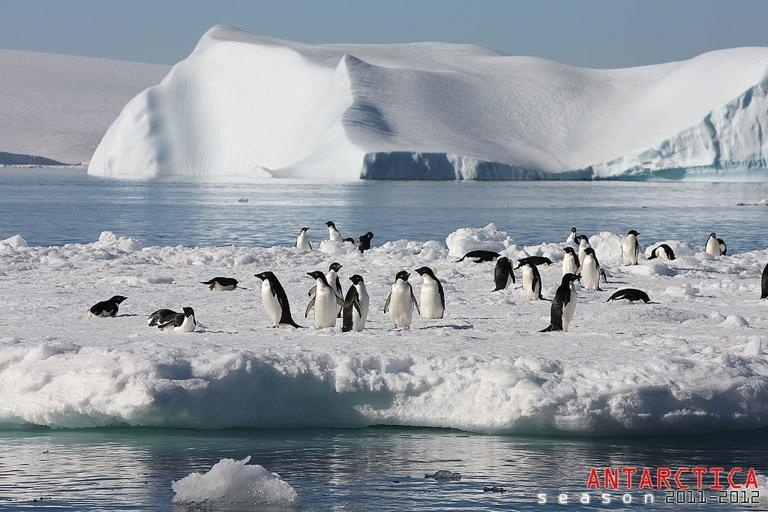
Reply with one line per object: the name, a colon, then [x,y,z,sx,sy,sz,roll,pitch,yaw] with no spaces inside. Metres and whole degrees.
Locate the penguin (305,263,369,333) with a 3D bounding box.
penguin: [-0.836,0.860,27.427,1.056,1.109,0.936,0,-7,1]

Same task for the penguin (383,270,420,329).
penguin: [0.328,0.814,27.553,0.625,1.070,0.806,3,0,7]

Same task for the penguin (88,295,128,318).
penguin: [-5.243,0.975,28.248,0.462,0.446,0.808,-3,-7,31]

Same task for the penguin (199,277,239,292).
penguin: [-3.325,0.591,30.133,0.535,0.183,0.347,12,-5,-36]

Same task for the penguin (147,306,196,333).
penguin: [-3.864,1.157,27.199,0.726,0.401,0.530,10,12,23]

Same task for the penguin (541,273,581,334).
penguin: [3.268,0.883,27.552,0.677,1.099,0.530,-1,-7,15]

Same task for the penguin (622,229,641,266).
penguin: [5.577,-0.131,33.031,0.502,0.767,0.480,10,-10,-28]

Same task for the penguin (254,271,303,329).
penguin: [-1.952,0.818,27.467,0.684,1.070,0.659,-2,-7,19]
